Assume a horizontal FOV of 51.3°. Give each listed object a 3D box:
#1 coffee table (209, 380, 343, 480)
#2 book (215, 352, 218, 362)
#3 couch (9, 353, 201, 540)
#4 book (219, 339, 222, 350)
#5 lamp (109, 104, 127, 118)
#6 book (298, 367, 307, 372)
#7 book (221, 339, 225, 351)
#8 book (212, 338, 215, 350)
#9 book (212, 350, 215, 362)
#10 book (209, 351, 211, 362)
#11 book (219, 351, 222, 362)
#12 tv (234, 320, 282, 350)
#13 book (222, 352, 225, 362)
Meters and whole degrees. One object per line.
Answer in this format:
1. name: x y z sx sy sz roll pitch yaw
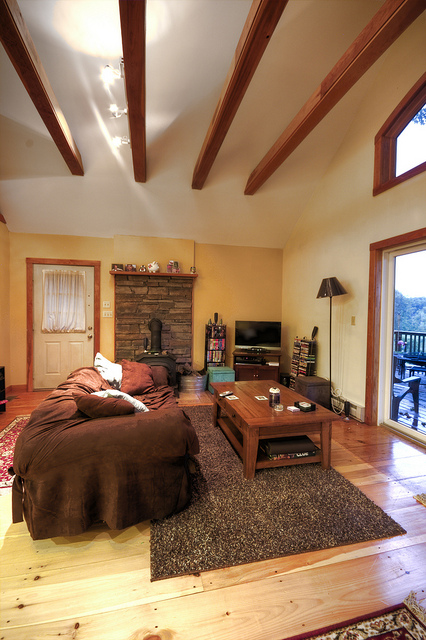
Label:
1. coffee table: 0.472 0.818 3.571 0.735 0.553 1.043 1 1 -12
2. book: 0.040 0.489 5.913 0.036 0.116 0.007 1 1 0
3. couch: -0.771 0.698 2.999 0.760 0.476 1.307 -2 7 -16
4. book: 0.099 0.323 5.911 0.030 0.135 0.018 1 1 -31
5. lamp: -0.878 -1.916 4.084 0.149 0.073 0.116 1 1 -23
6. book: 1.051 0.585 5.250 0.010 0.034 0.199 1 1 -16
7. book: 0.132 0.332 5.972 0.029 0.152 0.131 1 1 13
8. book: -0.001 0.317 5.886 0.037 0.142 0.014 1 1 -18
9. book: 0.008 0.481 5.910 0.050 0.151 0.012 1 1 -9
10. book: -0.042 0.472 5.902 0.045 0.126 0.139 0 -3 -2
11. book: 0.095 0.486 5.924 0.027 0.142 0.008 0 1 -37
12. tv: 0.605 0.204 6.108 0.602 0.368 0.190 1 1 -4
13. book: 0.134 0.489 5.972 0.021 0.091 0.090 6 -4 8
